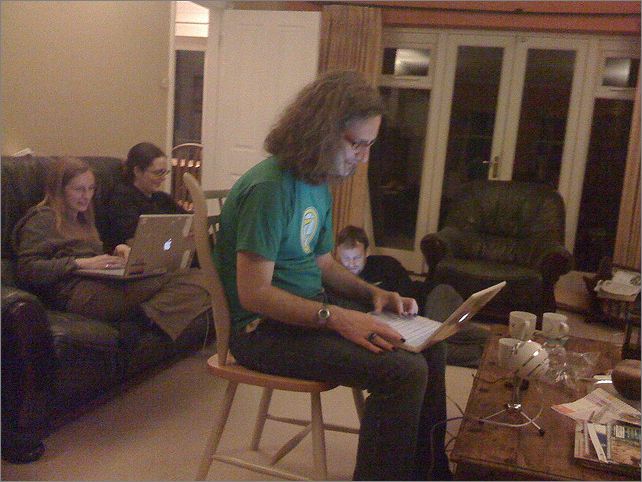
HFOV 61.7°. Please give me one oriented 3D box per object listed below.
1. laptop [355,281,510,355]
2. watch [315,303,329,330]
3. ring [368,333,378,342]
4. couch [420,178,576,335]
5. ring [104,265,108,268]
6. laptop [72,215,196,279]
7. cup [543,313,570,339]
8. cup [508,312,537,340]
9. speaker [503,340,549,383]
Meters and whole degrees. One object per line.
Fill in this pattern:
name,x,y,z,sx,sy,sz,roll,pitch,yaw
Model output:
laptop,0.333,0.173,1.553,0.284,0.149,0.290,11,12,38
watch,0.005,0.212,1.503,0.031,0.059,0.033,14,17,38
ring,0.139,0.267,1.494,0.026,0.025,0.017,18,11,-40
couch,1.187,0.046,3.877,1.136,1.047,1.027,5,1,25
ring,-0.895,0.104,2.234,0.013,0.013,0.012,-2,-1,0
laptop,-0.756,0.005,2.289,0.325,0.205,0.385,4,4,23
cup,0.860,0.315,2.004,0.088,0.068,0.103,-1,6,-8
cup,0.666,0.289,1.826,0.097,0.085,0.139,3,6,11
speaker,0.560,0.340,1.547,0.126,0.095,0.100,24,-9,19
